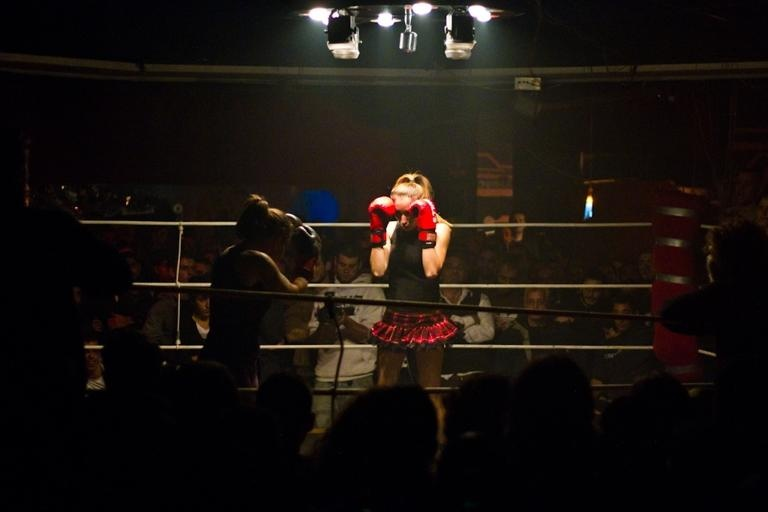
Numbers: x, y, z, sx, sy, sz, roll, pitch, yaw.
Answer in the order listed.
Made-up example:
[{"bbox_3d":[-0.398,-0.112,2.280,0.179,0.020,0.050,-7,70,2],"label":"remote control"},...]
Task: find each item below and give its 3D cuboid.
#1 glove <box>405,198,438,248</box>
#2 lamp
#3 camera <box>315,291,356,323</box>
[{"bbox_3d":[0.315,-0.258,5.960,0.257,0.328,0.138,14,32,37],"label":"glove"},{"bbox_3d":[0.149,-1.820,6.428,1.632,0.405,0.537,3,-3,-1],"label":"lamp"},{"bbox_3d":[-0.426,0.394,6.397,0.313,0.153,0.433,1,4,18],"label":"camera"}]
